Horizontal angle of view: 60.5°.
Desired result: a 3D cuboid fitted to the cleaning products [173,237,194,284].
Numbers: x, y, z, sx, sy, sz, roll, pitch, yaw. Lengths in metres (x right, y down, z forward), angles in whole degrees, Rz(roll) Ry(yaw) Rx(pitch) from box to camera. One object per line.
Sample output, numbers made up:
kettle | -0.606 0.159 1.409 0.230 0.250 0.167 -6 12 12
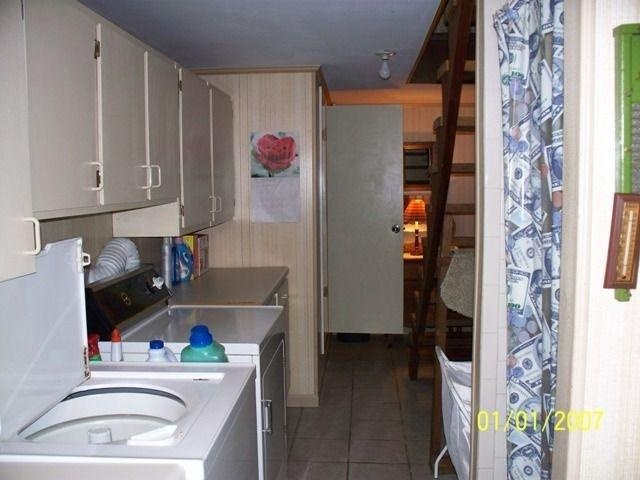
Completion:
cleaning products | -0.888 0.104 3.513 0.154 0.381 0.085 -9 38 -20

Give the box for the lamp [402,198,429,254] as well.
lamp | 1.004 -0.151 5.772 0.229 0.554 0.515 1 8 9

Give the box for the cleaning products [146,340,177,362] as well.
cleaning products | -0.634 0.460 2.234 0.069 0.130 0.124 -4 -11 15

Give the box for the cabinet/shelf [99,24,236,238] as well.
cabinet/shelf | -0.786 -0.495 3.074 0.372 0.915 1.349 0 8 -2

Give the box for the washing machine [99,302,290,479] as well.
washing machine | -0.539 0.500 2.705 0.659 0.849 1.222 1 8 5
